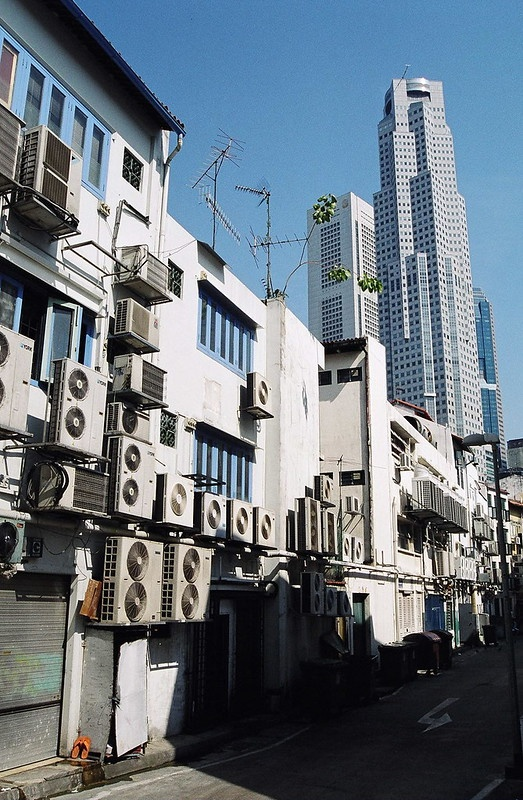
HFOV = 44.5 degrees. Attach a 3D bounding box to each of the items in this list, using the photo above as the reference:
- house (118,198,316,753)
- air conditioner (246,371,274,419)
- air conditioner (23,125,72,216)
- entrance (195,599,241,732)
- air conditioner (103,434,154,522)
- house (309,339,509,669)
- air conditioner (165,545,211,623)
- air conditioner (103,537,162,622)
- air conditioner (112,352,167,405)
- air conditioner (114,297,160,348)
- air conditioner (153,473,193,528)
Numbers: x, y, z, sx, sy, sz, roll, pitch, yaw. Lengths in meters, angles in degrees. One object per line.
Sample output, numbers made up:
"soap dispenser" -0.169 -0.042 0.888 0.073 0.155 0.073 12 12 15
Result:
"house" -2.784 2.872 15.899 6.044 10.294 3.120 -20 -26 34
"air conditioner" -0.076 -0.084 16.147 0.304 0.888 0.869 -6 -22 16
"air conditioner" -2.830 -2.979 8.371 0.280 1.077 0.903 -8 -29 17
"entrance" -0.929 5.477 12.963 0.775 2.870 2.612 -1 -10 7
"air conditioner" -2.004 1.209 9.698 0.307 1.186 1.046 -3 -13 22
"house" 10.104 8.884 40.339 7.197 14.491 30.195 -8 -25 26
"air conditioner" -1.051 3.223 11.151 0.397 1.256 1.060 9 -16 -38
"air conditioner" -1.874 2.740 9.597 0.299 1.241 1.083 -1 -9 26
"air conditioner" -1.925 -0.268 10.416 0.291 0.681 0.918 -11 -22 30
"air conditioner" -2.053 -1.216 10.757 0.249 0.676 0.871 -7 -19 26
"air conditioner" -1.525 1.719 10.767 0.267 0.804 0.765 -7 -17 20
